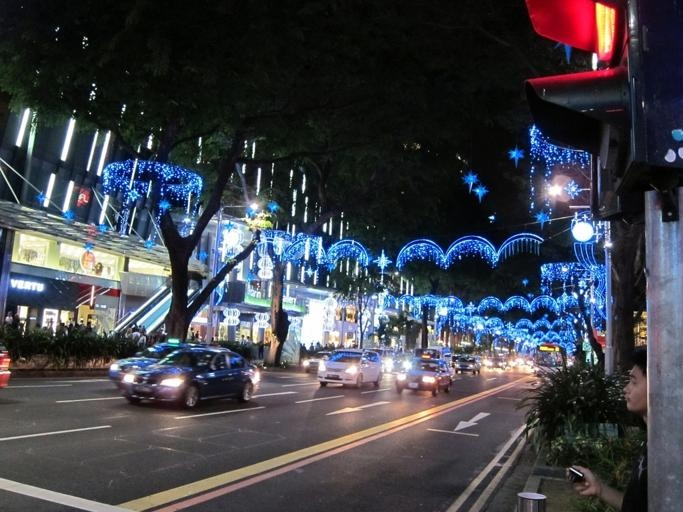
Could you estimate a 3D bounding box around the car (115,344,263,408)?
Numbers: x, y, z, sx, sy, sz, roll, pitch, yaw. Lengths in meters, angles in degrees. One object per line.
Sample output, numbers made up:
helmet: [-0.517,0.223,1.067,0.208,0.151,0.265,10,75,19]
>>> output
car: [-4.533,3.705,16.920,1.444,1.823,4.091,-2,-13,34]

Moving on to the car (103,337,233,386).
car: [-5.922,3.429,17.673,1.409,1.166,3.268,-5,-9,34]

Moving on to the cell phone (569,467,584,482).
cell phone: [1.515,1.422,3.577,0.104,0.079,0.037,40,-17,-14]
